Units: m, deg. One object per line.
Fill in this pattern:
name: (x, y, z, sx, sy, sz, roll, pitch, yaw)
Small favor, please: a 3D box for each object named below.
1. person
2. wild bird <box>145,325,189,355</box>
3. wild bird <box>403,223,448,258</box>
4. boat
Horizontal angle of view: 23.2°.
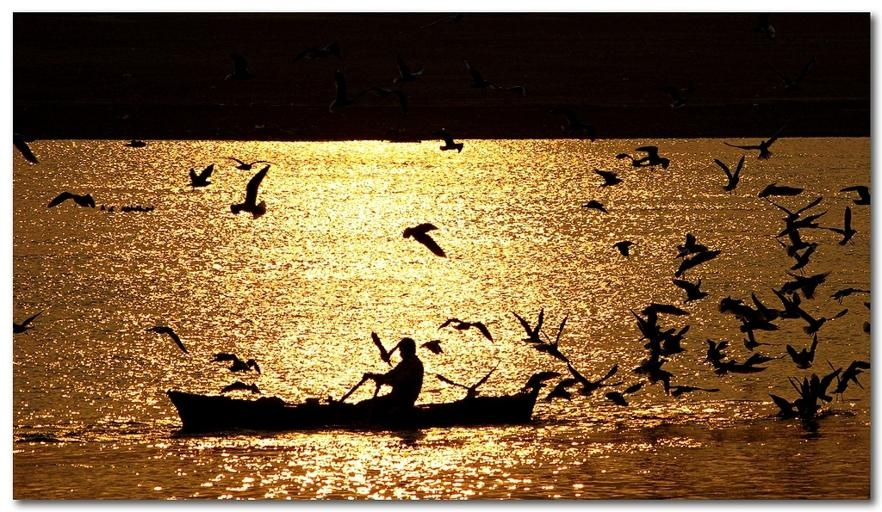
person: (-0.879, 2.097, 37.508, 1.465, 0.998, 1.052, -5, 103, -9)
wild bird: (-5.250, 1.663, 41.391, 0.329, 0.869, 0.129, -13, 108, -37)
wild bird: (-0.288, -0.272, 45.451, 0.805, 0.770, 0.214, 33, 78, -11)
boat: (-1.548, 2.751, 37.390, 6.138, 0.590, 0.652, 0, 57, -4)
